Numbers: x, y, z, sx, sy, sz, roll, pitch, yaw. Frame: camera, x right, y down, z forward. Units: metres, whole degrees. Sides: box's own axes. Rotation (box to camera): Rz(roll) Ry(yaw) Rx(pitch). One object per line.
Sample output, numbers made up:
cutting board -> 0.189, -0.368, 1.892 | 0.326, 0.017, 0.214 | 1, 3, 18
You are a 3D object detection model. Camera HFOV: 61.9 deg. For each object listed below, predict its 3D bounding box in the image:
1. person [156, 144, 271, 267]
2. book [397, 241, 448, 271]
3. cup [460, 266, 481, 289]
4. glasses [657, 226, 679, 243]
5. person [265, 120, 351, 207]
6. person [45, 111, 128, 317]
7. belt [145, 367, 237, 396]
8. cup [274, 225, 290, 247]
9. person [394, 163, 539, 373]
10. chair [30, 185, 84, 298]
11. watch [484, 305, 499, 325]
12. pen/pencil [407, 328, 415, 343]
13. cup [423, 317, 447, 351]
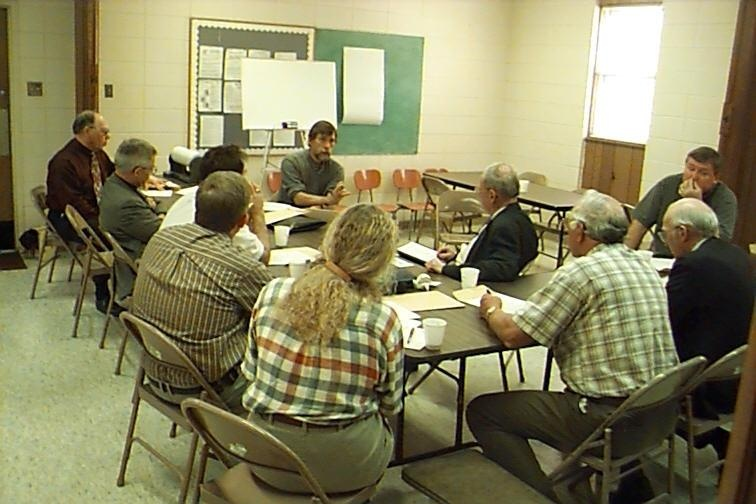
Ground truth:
person -> -1.061, -0.317, 3.864 | 0.664, 0.949, 0.227 | -1, -13, -22
book -> 0.267, 0.022, 4.051 | 0.189, 0.045, 0.191 | 30, 19, 23
cup -> 0.513, 0.150, 3.589 | 0.108, 0.113, 0.111 | 0, 4, 0
glasses -> 1.725, -0.099, 3.763 | 0.118, 0.104, 0.140 | -3, 5, -3
person -> -0.539, -0.731, 5.484 | 0.646, 0.786, 0.549 | 8, 1, 31
person -> -2.411, -0.361, 5.464 | 0.836, 1.672, 0.663 | 2, 14, -7
belt -> -0.853, 0.608, 2.945 | 0.211, 0.078, 0.162 | -6, 13, -40
cup -> -0.624, -0.101, 4.060 | 0.122, 0.125, 0.117 | 2, 9, 0
person -> 0.574, 0.149, 4.081 | 0.803, 1.391, 0.740 | 7, 5, 9
chair -> -2.840, -0.050, 5.517 | 0.508, 0.690, 0.433 | 17, -4, -33
watch -> 0.569, 0.326, 3.220 | 0.033, 0.082, 0.063 | 34, -15, 2
pen/pencil -> 0.158, 0.406, 3.046 | 0.016, 0.012, 0.097 | 13, 22, 9
cup -> 0.258, 0.382, 2.946 | 0.127, 0.109, 0.136 | 1, 2, 0
